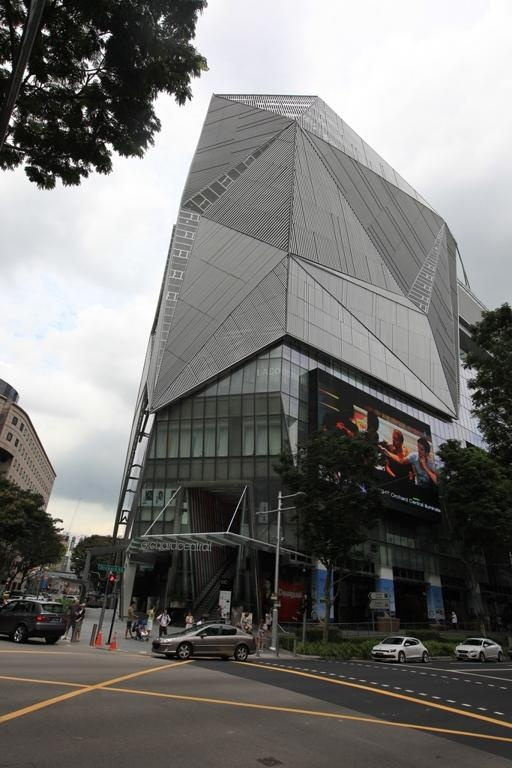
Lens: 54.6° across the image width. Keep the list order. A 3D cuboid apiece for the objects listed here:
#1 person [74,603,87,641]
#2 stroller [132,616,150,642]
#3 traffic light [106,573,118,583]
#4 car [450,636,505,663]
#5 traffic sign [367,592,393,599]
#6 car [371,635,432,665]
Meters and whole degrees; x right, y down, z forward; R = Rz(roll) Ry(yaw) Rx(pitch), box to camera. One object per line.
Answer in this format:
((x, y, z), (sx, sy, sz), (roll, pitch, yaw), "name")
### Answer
((-8.365, 11.114, 23.264), (0.340, 1.443, 2.278), (12, -25, -15), "person")
((-6.202, 13.106, 26.458), (0.758, 1.395, 0.682), (3, -14, -1), "stroller")
((-6.892, 9.215, 23.539), (0.387, 0.367, 1.069), (11, -25, -13), "traffic light")
((13.296, 15.929, 29.799), (3.877, 1.240, 1.190), (26, -31, -37), "car")
((9.769, 16.783, 39.430), (1.254, 0.628, 1.372), (4, -24, 4), "traffic sign")
((6.913, 12.794, 23.989), (1.142, 1.114, 3.347), (-17, -33, 41), "car")
